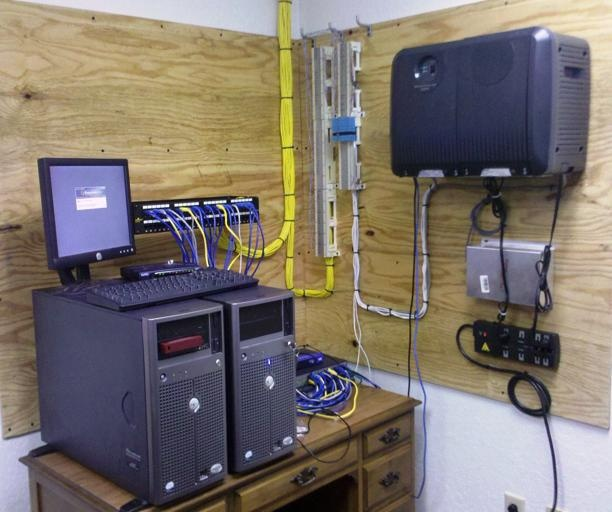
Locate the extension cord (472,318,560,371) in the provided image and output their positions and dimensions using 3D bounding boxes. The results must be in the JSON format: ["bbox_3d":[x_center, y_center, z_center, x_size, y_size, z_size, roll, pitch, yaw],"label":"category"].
[{"bbox_3d":[0.797,0.332,1.998,0.313,0.136,0.052,5,7,44],"label":"extension cord"}]

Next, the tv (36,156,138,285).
[{"bbox_3d":[-0.717,-0.151,1.724,0.077,0.334,0.324,10,13,27],"label":"tv"}]
